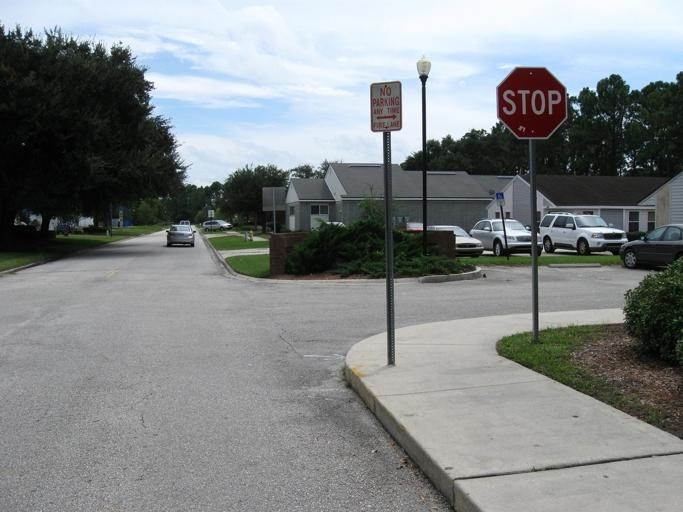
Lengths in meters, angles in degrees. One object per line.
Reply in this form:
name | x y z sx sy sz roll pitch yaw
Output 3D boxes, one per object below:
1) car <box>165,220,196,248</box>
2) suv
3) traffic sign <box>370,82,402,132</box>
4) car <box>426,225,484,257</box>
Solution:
car | -12.477 -1.520 45.483 1.933 1.631 2.802 -4 6 -19
suv | 12.781 -1.195 31.403 2.238 1.828 4.206 0 0 -22
traffic sign | 0.563 -1.923 7.565 0.388 0.647 0.179 -1 5 13
car | 5.903 -0.694 28.318 1.526 1.304 3.837 -1 1 -18
